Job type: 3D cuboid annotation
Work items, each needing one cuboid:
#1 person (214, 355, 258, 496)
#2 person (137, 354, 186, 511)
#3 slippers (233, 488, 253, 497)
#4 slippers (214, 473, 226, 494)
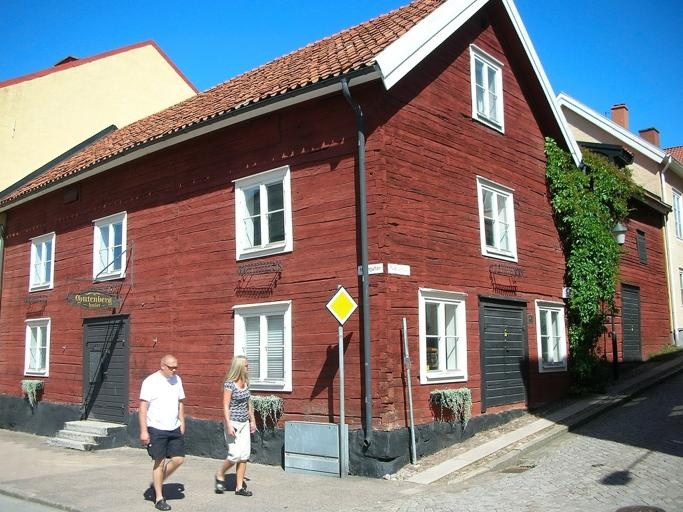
[{"bbox_3d":[-1.784,2.834,9.312,0.662,1.855,0.679,-3,-1,-16],"label":"person"},{"bbox_3d":[-2.757,2.716,8.684,0.606,1.789,0.688,-3,-1,-11],"label":"person"},{"bbox_3d":[-1.611,3.873,9.235,0.261,0.106,0.122,-1,-5,8],"label":"slippers"},{"bbox_3d":[-2.047,3.820,9.422,0.104,0.343,0.128,-27,-32,24],"label":"slippers"}]
